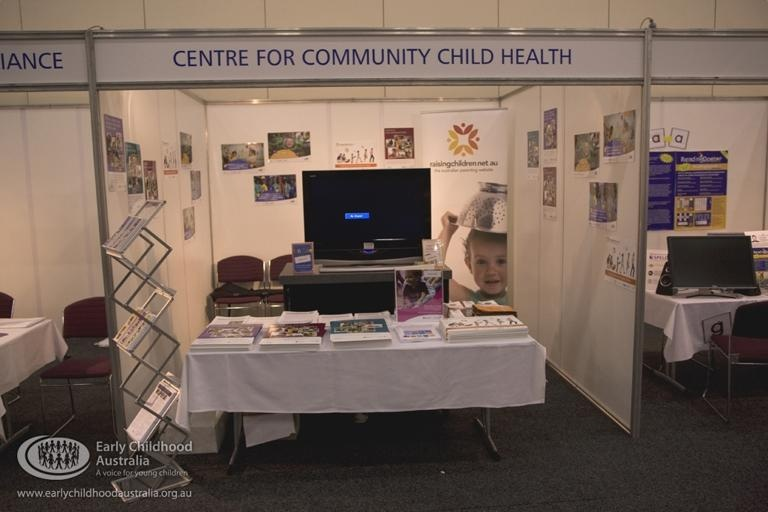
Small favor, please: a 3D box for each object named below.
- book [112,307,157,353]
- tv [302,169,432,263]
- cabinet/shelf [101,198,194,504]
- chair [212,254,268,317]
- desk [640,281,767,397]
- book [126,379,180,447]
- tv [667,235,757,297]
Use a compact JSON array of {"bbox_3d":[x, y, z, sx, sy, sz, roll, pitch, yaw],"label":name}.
[{"bbox_3d":[-2.212,0.664,5.030,0.306,0.431,0.140,6,-34,37],"label":"book"},{"bbox_3d":[-0.227,-0.460,6.290,1.022,0.735,0.103,-1,2,-1],"label":"tv"},{"bbox_3d":[-2.294,0.308,5.227,0.722,2.487,0.646,-3,10,-31],"label":"cabinet/shelf"},{"bbox_3d":[-2.015,0.381,7.862,0.786,1.313,0.860,0,-1,-7],"label":"chair"},{"bbox_3d":[3.341,0.811,6.527,1.177,0.634,1.216,-1,9,8],"label":"desk"},{"bbox_3d":[-1.958,1.453,5.168,0.138,0.567,0.576,39,10,-16],"label":"book"},{"bbox_3d":[3.598,0.088,6.309,0.873,0.618,0.195,-1,-7,7],"label":"tv"}]
